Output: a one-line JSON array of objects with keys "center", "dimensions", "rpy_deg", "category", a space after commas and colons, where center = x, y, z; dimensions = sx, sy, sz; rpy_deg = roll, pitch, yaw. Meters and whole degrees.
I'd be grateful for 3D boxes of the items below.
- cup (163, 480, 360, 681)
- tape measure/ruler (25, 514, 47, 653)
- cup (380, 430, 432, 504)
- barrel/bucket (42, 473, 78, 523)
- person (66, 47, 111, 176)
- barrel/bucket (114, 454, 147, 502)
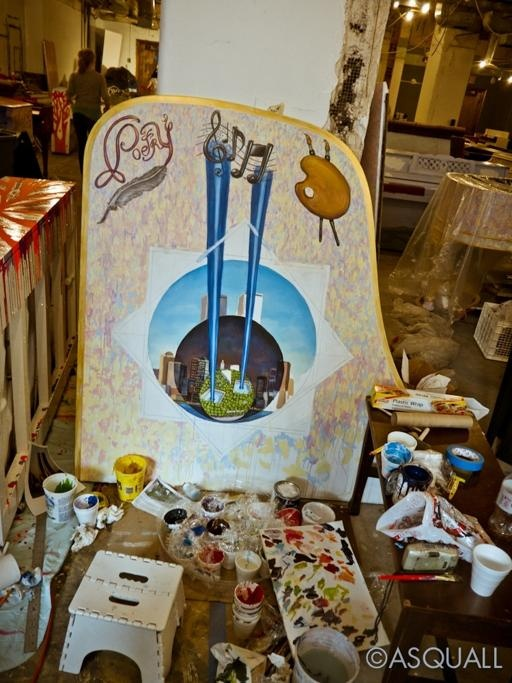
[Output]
[{"center": [-0.017, 0.732, 1.595], "dimensions": [0.493, 0.296, 0.564], "rpy_deg": [2, 25, -7], "category": "cup"}, {"center": [-0.666, 0.692, 1.454], "dimensions": [0.040, 0.048, 0.515], "rpy_deg": [-1, 27, -21], "category": "tape measure/ruler"}, {"center": [0.384, 0.324, 1.254], "dimensions": [0.119, 0.131, 0.104], "rpy_deg": [4, 28, 4], "category": "cup"}, {"center": [-0.678, 0.539, 1.655], "dimensions": [0.112, 0.101, 0.150], "rpy_deg": [-3, 27, -8], "category": "barrel/bucket"}, {"center": [-2.044, -2.694, 5.836], "dimensions": [0.479, 1.377, 0.552], "rpy_deg": [-1, 26, -20], "category": "person"}, {"center": [-0.465, 0.500, 1.770], "dimensions": [0.118, 0.148, 0.109], "rpy_deg": [7, 24, -3], "category": "barrel/bucket"}]
